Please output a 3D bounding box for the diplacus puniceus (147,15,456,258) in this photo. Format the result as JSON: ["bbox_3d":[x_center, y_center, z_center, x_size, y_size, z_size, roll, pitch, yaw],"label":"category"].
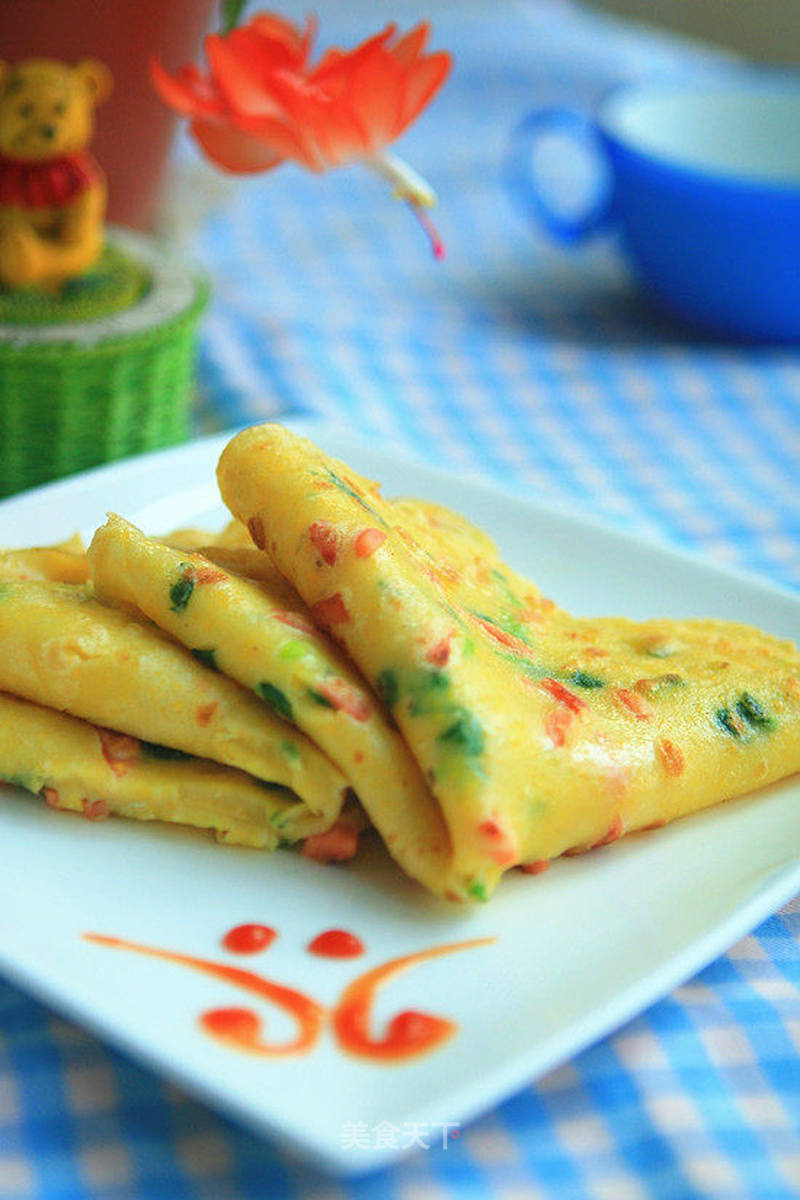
[{"bbox_3d":[-0.062,-0.233,0.599,0.113,0.110,0.172,-23,45,-29],"label":"diplacus puniceus"}]
